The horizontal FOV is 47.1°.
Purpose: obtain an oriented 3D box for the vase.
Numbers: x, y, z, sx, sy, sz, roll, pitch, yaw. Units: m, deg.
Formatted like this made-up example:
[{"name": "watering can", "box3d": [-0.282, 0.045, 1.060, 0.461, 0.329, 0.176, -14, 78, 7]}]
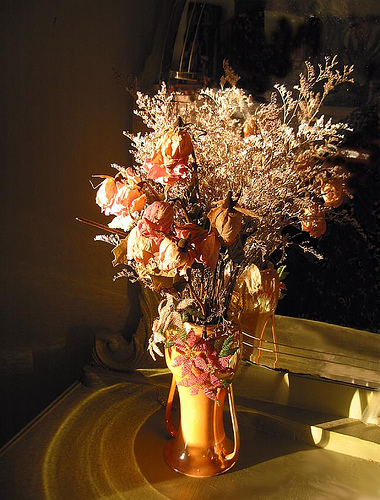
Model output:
[{"name": "vase", "box3d": [0.021, 0.315, 0.790, 0.121, 0.206, 0.138, 2, 0, -45]}]
